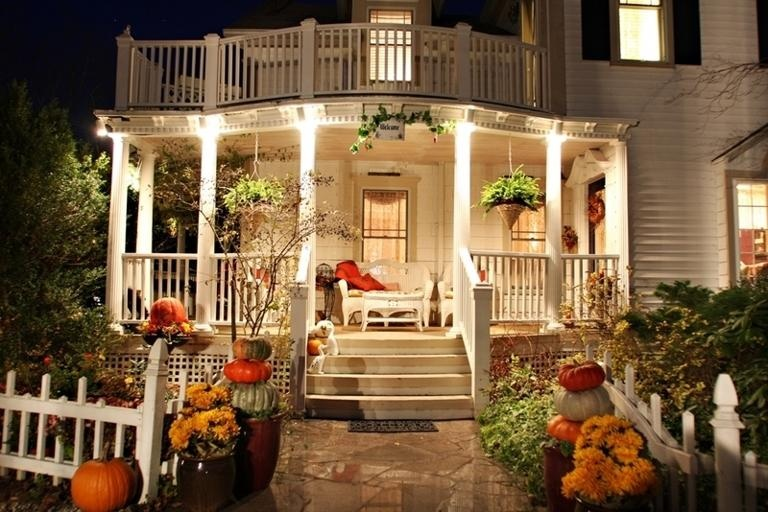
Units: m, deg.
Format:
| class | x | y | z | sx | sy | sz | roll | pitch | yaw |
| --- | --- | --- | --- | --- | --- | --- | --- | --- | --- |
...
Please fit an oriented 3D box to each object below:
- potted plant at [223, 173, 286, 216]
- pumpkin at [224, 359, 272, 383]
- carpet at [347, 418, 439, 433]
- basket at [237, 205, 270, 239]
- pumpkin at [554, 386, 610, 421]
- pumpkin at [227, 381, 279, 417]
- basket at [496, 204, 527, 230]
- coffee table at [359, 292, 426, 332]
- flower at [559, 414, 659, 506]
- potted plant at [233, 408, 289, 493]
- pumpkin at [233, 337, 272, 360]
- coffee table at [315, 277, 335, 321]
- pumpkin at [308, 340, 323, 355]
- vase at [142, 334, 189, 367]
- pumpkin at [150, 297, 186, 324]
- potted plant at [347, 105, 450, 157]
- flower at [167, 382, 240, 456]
| class | x | y | z | sx | sy | sz | roll | pitch | yaw |
| --- | --- | --- | --- | --- | --- | --- | --- | --- | --- |
| potted plant | -2.355 | -1.113 | 12.704 | 0.991 | 0.898 | 1.351 | 1 | 6 | -10 |
| pumpkin | -1.774 | 1.479 | 9.101 | 0.376 | 0.208 | 0.388 | 4 | 0 | -24 |
| carpet | 0.124 | 2.671 | 11.039 | 1.396 | 0.116 | 0.633 | -1 | 0 | -5 |
| basket | -2.509 | -0.678 | 13.503 | 0.507 | 0.520 | 0.948 | 5 | 4 | -10 |
| pumpkin | 2.412 | 1.779 | 8.438 | 0.451 | 0.271 | 0.459 | 0 | 1 | -1 |
| pumpkin | -1.692 | 1.840 | 9.256 | 0.655 | 0.455 | 0.658 | 4 | 5 | 11 |
| basket | 2.324 | -0.792 | 13.040 | 0.492 | 0.391 | 0.499 | 8 | -10 | 3 |
| coffee table | 0.192 | 1.041 | 13.881 | 1.278 | 0.717 | 1.031 | 0 | 3 | -1 |
| flower | 2.485 | 2.263 | 7.700 | 0.939 | 0.971 | 0.492 | -8 | -12 | -4 |
| potted plant | -1.604 | 2.508 | 9.177 | 0.816 | 0.742 | 0.774 | 0 | 1 | -35 |
| pumpkin | -1.745 | 1.220 | 9.267 | 0.371 | 0.268 | 0.370 | 5 | -3 | -22 |
| coffee table | -1.329 | 0.941 | 14.492 | 0.567 | 0.800 | 0.428 | 4 | 12 | -18 |
| pumpkin | -1.197 | 1.582 | 12.215 | 0.244 | 0.251 | 0.248 | -2 | 1 | -1 |
| vase | -3.327 | 1.438 | 10.730 | 0.805 | 0.576 | 0.530 | 2 | -10 | -5 |
| pumpkin | -3.767 | 0.962 | 12.275 | 0.481 | 0.475 | 0.478 | 2 | -3 | -30 |
| potted plant | 0.306 | -2.417 | 12.688 | 1.680 | 0.584 | 0.805 | -3 | 8 | -2 |
| flower | -2.178 | 1.994 | 8.508 | 0.799 | 0.859 | 0.297 | -1 | 0 | -14 |
